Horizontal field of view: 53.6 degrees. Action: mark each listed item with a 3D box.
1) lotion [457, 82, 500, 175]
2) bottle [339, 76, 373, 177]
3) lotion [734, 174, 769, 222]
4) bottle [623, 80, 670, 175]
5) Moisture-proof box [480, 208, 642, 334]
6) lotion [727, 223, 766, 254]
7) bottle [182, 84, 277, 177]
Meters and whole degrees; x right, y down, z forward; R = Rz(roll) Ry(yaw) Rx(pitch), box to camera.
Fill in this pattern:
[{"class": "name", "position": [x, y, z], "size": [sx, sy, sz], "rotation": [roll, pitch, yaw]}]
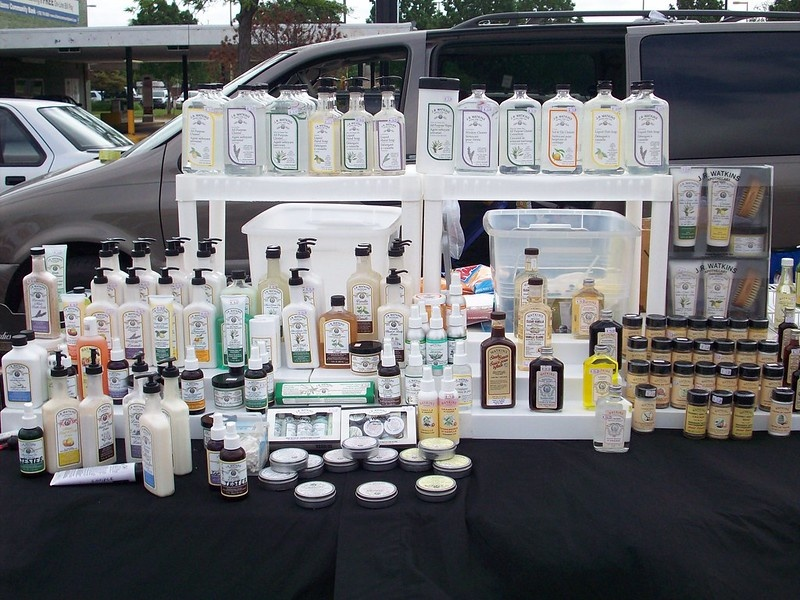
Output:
[{"class": "lotion", "position": [0.311, -0.706, 3.273], "size": [0.250, 0.352, 0.245], "rotation": [6, 12, 26]}, {"class": "bottle", "position": [-0.172, -0.677, 3.163], "size": [0.127, 0.344, 0.078], "rotation": [0, 5, -5]}, {"class": "lotion", "position": [1.499, -0.433, 3.384], "size": [0.137, 0.182, 0.058], "rotation": [20, 7, 10]}, {"class": "bottle", "position": [0.984, -0.654, 3.177], "size": [0.172, 0.289, 0.100], "rotation": [1, 5, 12]}, {"class": "Moisture-proof box", "position": [0.703, -0.150, 3.553], "size": [0.704, 0.395, 0.518], "rotation": [0, 7, 4]}, {"class": "lotion", "position": [1.468, -0.262, 3.344], "size": [0.135, 0.112, 0.131], "rotation": [2, 6, 23]}, {"class": "bottle", "position": [-0.685, -0.672, 3.193], "size": [0.383, 0.316, 0.197], "rotation": [3, 19, 3]}]
